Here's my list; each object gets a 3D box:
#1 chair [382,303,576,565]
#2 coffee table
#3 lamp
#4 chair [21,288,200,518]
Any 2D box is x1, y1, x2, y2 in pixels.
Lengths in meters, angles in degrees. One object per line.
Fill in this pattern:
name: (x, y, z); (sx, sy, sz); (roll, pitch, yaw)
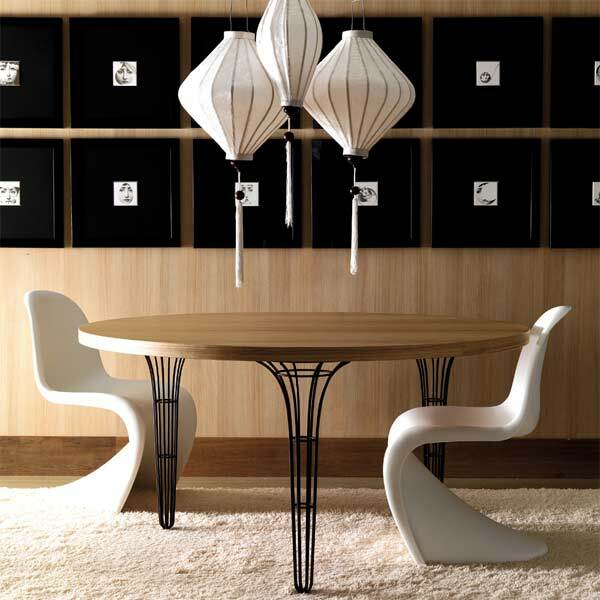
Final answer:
chair: (0.730, 0.552, 3.272); (0.754, 1.379, 0.652); (3, 0, 4)
coffee table: (0.023, 0.521, 2.974); (1.549, 0.942, 1.359); (3, 8, 20)
lamp: (-0.005, -0.527, 2.725); (0.751, 0.968, 0.536); (-6, 9, -39)
chair: (-0.790, 0.434, 3.690); (0.783, 1.371, 0.640); (-2, -1, 21)
